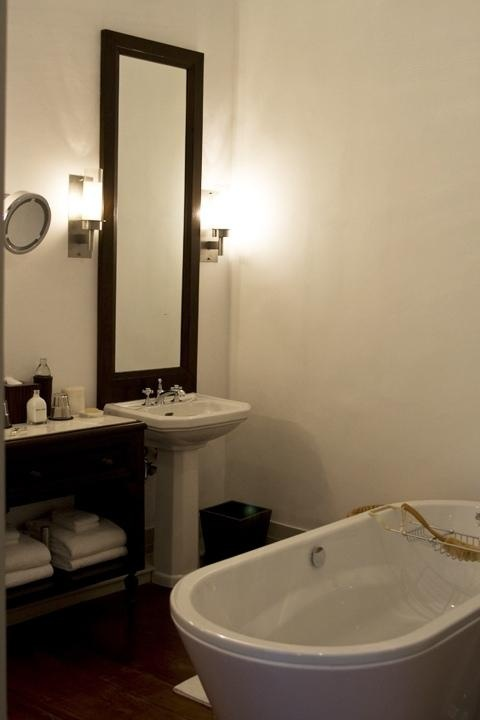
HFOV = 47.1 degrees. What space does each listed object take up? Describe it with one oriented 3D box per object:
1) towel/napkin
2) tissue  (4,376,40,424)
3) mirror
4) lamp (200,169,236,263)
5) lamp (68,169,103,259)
[{"bbox_3d":[-0.821,0.820,2.505,0.323,0.205,0.589,4,2,43],"label":"towel/napkin"},{"bbox_3d":[-0.997,0.193,2.492,0.085,0.184,0.189,2,1,18],"label":"tissue "},{"bbox_3d":[-0.499,-0.782,3.127,0.142,2.089,0.730,2,1,43],"label":"mirror"},{"bbox_3d":[-0.134,-0.878,3.479,0.129,0.545,0.282,2,1,35],"label":"lamp"},{"bbox_3d":[-0.787,-0.729,2.806,0.171,0.421,0.202,1,1,-17],"label":"lamp"}]
